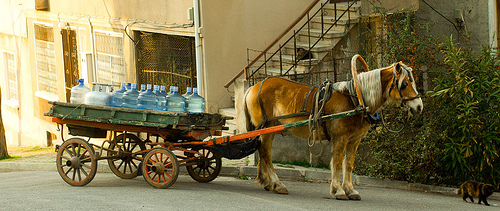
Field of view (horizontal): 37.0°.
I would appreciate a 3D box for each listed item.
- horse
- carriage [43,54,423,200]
[{"bbox_3d":[3.938,1.263,35.495,10.259,5.647,2.551,0,-1,37],"label":"horse"},{"bbox_3d":[-0.927,1.207,35.986,18.561,5.350,6.408,-2,-4,8],"label":"carriage"}]
